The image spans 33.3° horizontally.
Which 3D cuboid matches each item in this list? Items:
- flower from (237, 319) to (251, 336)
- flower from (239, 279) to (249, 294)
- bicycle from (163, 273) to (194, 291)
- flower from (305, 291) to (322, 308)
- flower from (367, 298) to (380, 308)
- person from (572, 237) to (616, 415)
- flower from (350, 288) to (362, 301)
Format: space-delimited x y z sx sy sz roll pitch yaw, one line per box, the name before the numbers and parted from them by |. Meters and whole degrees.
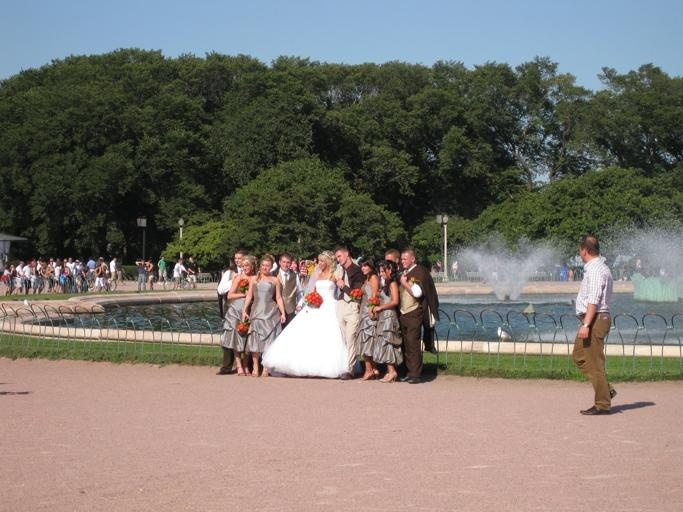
flower | -2.365 1.753 27.705 0.270 0.338 0.319 1 10 4
flower | -2.377 0.747 27.816 0.279 0.364 0.274 2 2 -3
bicycle | -8.074 1.293 56.694 1.244 0.795 0.644 2 -5 3
flower | -0.658 1.044 27.413 0.350 0.378 0.357 -2 3 -35
flower | 0.753 1.115 27.070 0.177 0.200 0.194 -1 -3 26
person | 5.461 1.475 24.527 0.869 3.686 1.154 0 13 3
flower | 0.365 0.919 27.255 0.246 0.276 0.267 0 4 -3
